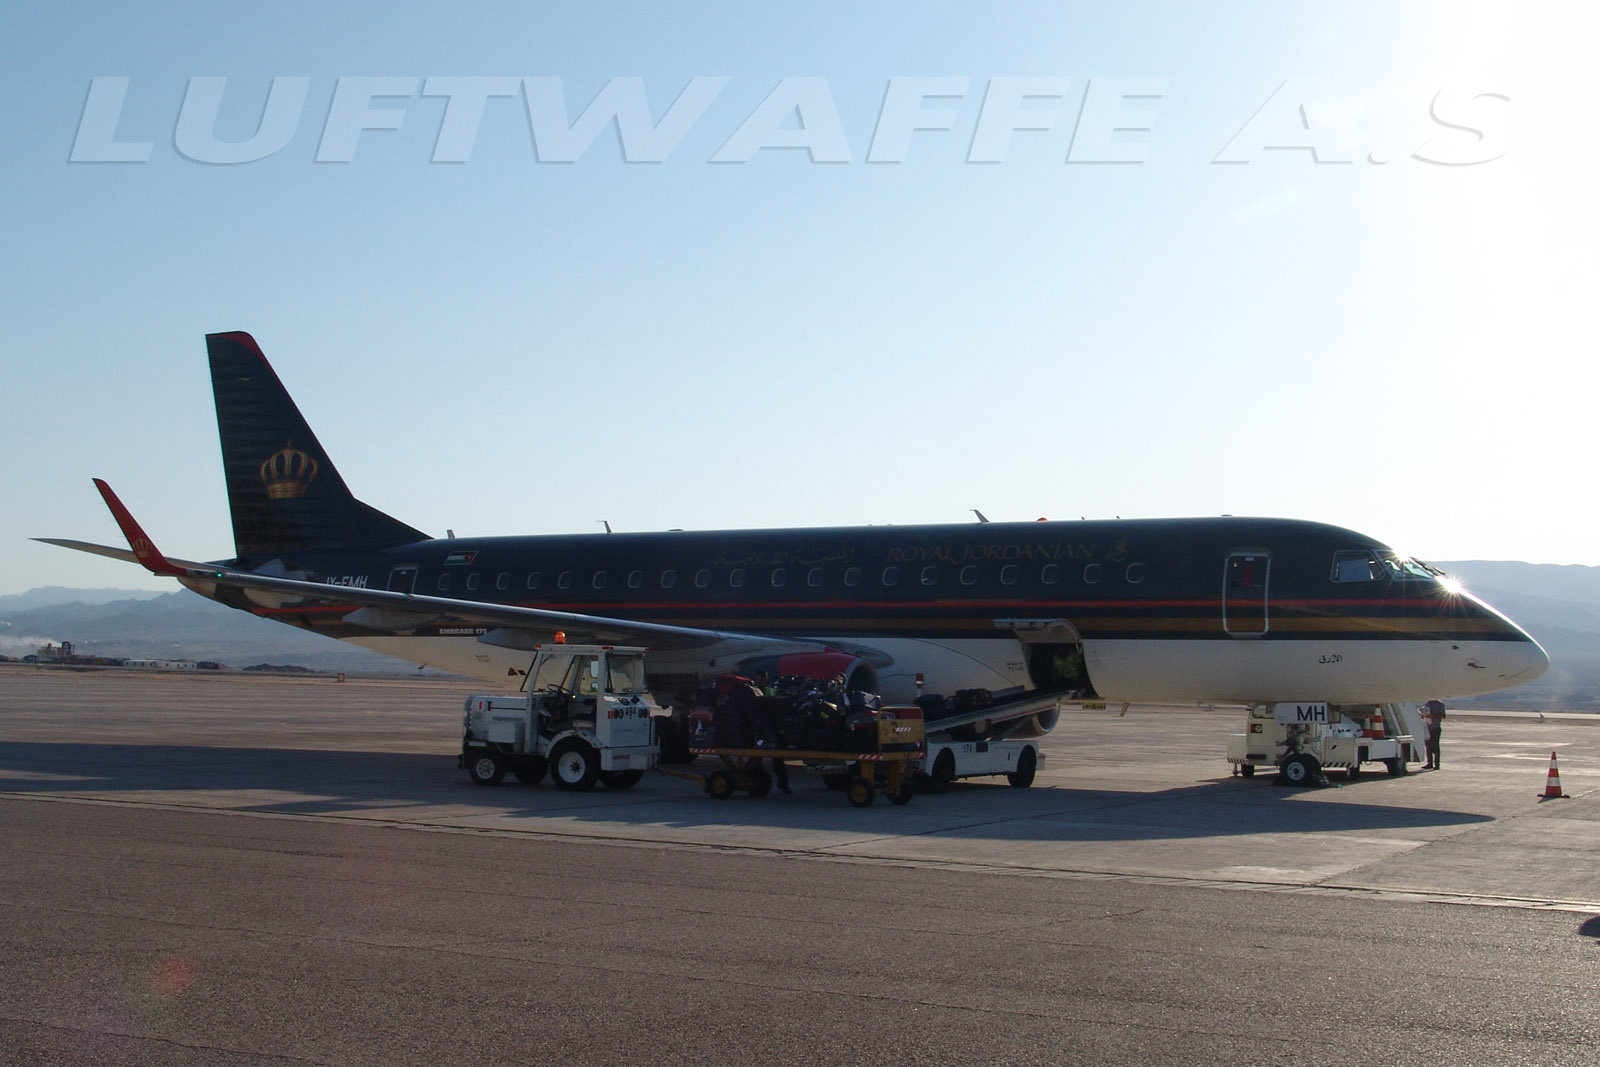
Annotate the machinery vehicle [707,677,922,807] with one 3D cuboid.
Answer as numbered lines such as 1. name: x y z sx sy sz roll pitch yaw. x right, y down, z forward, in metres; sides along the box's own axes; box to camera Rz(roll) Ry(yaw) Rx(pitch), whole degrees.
1. machinery vehicle: 0.005 3.869 24.420 4.246 1.754 2.153 2 -1 33
